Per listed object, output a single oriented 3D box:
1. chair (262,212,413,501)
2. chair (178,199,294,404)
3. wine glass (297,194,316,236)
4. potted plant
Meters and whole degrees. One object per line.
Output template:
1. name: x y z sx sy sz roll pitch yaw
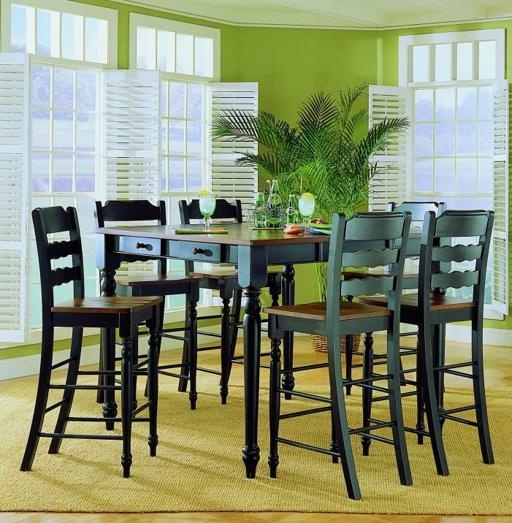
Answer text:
1. chair: 0.397 0.371 2.462 0.616 1.128 1.143 0 0 13
2. chair: -0.108 0.300 3.541 0.667 1.247 0.670 -1 -11 37
3. wine glass: 0.268 -0.245 2.785 0.087 0.276 0.083 -23 37 -30
4. potted plant: 0.565 -0.823 5.675 2.098 1.708 2.018 0 0 -9
